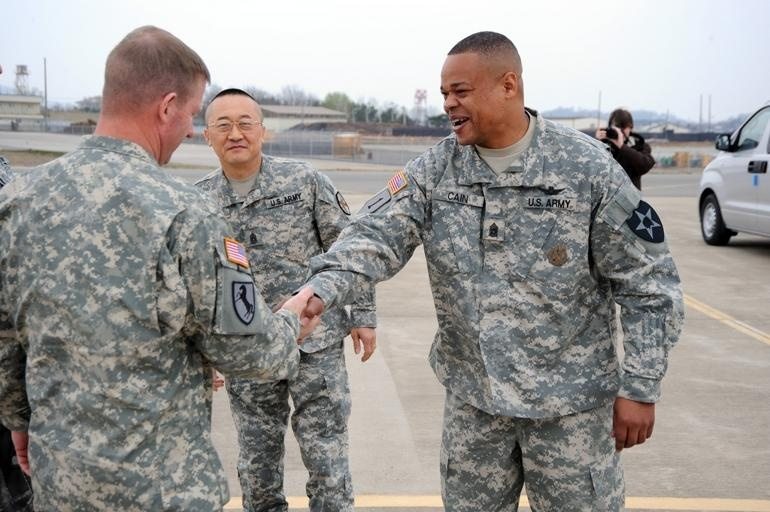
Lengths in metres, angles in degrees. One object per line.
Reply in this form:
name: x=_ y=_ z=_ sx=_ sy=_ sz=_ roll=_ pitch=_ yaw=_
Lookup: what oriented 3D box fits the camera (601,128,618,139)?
camera: x=2.176 y=-1.177 z=9.376 sx=0.125 sy=0.104 sz=0.109 roll=2 pitch=9 yaw=8
